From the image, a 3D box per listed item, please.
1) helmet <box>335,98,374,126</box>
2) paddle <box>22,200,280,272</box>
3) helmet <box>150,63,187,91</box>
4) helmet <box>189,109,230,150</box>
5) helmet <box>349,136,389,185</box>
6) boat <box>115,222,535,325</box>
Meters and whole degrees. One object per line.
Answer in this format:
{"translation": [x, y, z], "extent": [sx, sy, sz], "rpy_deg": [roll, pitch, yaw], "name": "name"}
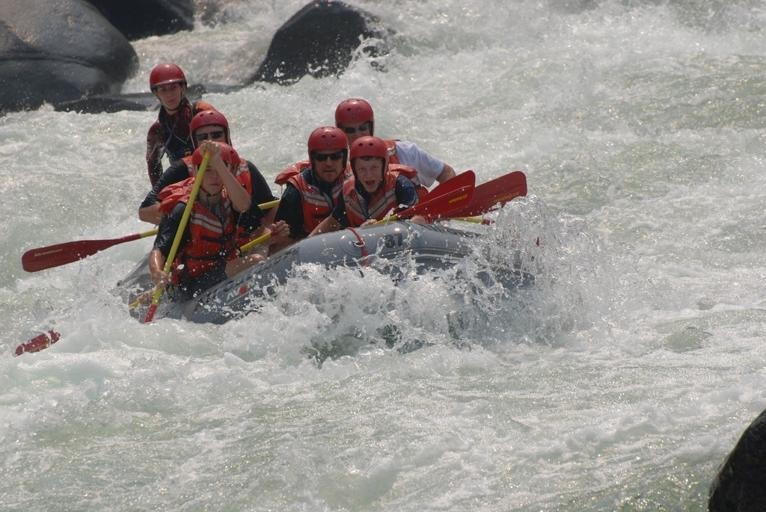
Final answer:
{"translation": [-0.313, -1.536, 11.517], "extent": [0.307, 0.306, 0.345], "rpy_deg": [-1, -32, -7], "name": "helmet"}
{"translation": [-2.401, -0.076, 11.097], "extent": [2.797, 0.209, 0.133], "rpy_deg": [-5, -14, 6], "name": "paddle"}
{"translation": [-2.482, -2.066, 12.322], "extent": [0.352, 0.290, 0.385], "rpy_deg": [-6, 18, 4], "name": "helmet"}
{"translation": [-1.923, -1.359, 11.450], "extent": [0.380, 0.389, 0.447], "rpy_deg": [-9, -18, -9], "name": "helmet"}
{"translation": [-0.086, -0.993, 10.782], "extent": [0.392, 0.389, 0.458], "rpy_deg": [-2, -9, 3], "name": "helmet"}
{"translation": [-0.733, 0.119, 10.639], "extent": [3.308, 0.460, 1.486], "rpy_deg": [-12, 6, 0], "name": "boat"}
